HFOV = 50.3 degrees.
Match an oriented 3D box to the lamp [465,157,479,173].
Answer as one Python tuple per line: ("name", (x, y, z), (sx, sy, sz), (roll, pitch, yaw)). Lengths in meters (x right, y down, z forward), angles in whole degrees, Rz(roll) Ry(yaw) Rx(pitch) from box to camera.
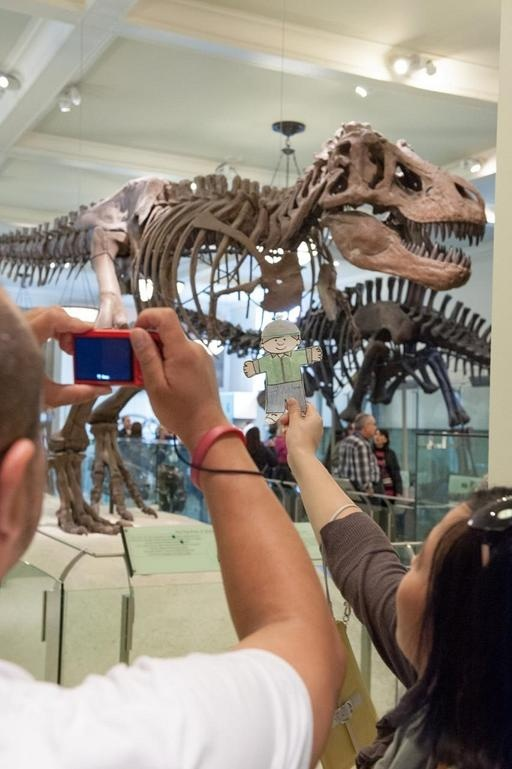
("lamp", (2.372, -2.406, 5.928), (0.149, 0.156, 0.037), (8, 9, 17))

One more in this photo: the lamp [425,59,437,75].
("lamp", (1.551, -2.784, 4.801), (0.090, 0.148, 0.102), (-4, 13, 19))
